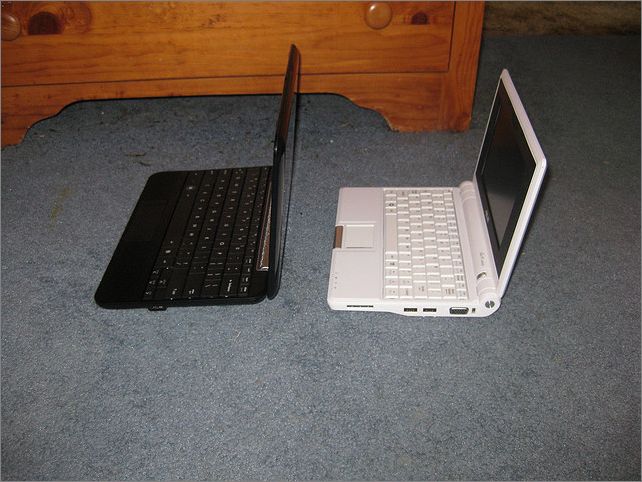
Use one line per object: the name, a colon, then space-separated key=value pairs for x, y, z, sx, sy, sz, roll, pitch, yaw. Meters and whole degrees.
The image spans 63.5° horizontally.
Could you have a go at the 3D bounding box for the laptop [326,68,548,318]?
laptop: x=0.117 y=-0.031 z=0.973 sx=0.431 sy=0.350 sz=0.436 roll=1 pitch=48 yaw=7
